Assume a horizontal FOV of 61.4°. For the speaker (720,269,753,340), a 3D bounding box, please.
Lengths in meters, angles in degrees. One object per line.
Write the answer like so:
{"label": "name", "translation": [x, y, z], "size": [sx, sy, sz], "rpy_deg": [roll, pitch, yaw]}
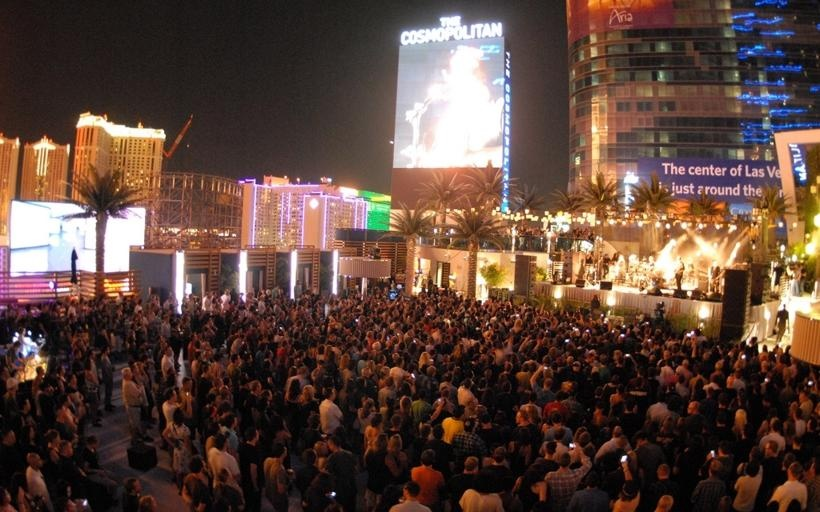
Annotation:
{"label": "speaker", "translation": [18.403, 2.842, 38.947], "size": [0.889, 3.954, 1.288], "rpy_deg": [4, 1, -37]}

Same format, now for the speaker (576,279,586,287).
{"label": "speaker", "translation": [11.862, 1.898, 48.533], "size": [0.554, 0.444, 0.831], "rpy_deg": [6, 2, 41]}

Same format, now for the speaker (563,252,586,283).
{"label": "speaker", "translation": [12.339, 0.932, 52.352], "size": [1.279, 2.236, 2.243], "rpy_deg": [4, 3, 27]}

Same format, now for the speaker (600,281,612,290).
{"label": "speaker", "translation": [13.268, 1.999, 46.913], "size": [0.608, 0.420, 0.610], "rpy_deg": [1, 4, 14]}

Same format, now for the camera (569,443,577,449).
{"label": "camera", "translation": [5.829, 6.806, 24.826], "size": [0.318, 0.220, 0.170], "rpy_deg": [3, -8, -36]}
